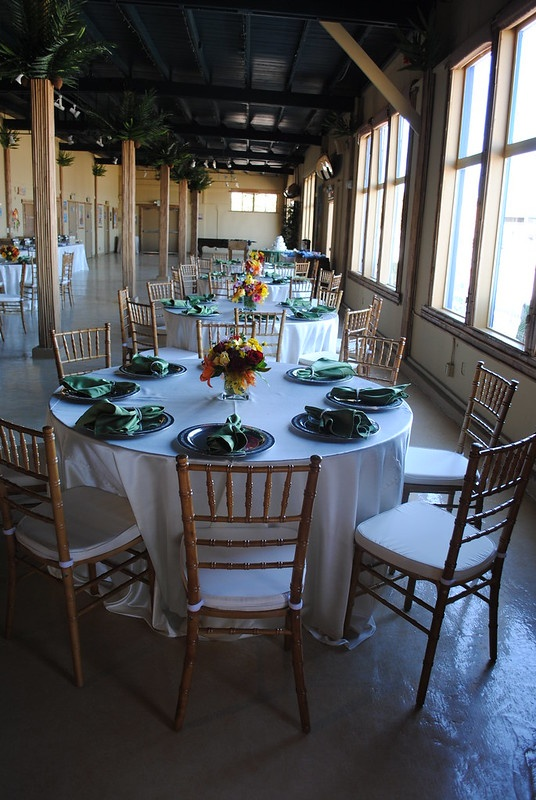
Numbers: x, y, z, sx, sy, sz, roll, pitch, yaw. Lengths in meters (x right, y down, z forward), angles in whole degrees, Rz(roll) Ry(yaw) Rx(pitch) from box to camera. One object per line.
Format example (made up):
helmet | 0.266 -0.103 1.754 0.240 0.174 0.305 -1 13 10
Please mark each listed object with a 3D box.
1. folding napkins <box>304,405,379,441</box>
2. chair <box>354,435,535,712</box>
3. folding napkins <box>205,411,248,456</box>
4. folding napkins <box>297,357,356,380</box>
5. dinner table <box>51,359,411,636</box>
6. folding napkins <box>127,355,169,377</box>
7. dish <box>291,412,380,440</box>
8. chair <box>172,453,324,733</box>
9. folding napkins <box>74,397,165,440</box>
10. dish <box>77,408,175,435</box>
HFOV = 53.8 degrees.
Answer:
folding napkins | 0.199 0.064 1.584 0.153 0.052 0.109 4 14 18
chair | 0.531 0.557 1.633 0.410 0.857 0.503 -16 28 -32
folding napkins | -0.112 0.097 1.427 0.074 0.064 0.176 15 8 2
folding napkins | 0.266 -0.129 2.271 0.151 0.050 0.131 0 9 -27
dinner table | -0.114 0.226 1.764 0.912 0.540 0.948 -2 19 -6
folding napkins | -0.509 -0.166 2.223 0.116 0.044 0.123 4 9 3
dish | 0.215 0.073 1.584 0.137 0.043 0.139 -9 21 -30
chair | -0.054 0.433 1.381 0.356 0.747 0.616 3 9 0
folding napkins | -0.423 0.056 1.570 0.154 0.048 0.155 8 15 25
dish | -0.422 0.060 1.564 0.137 0.042 0.134 4 12 9
